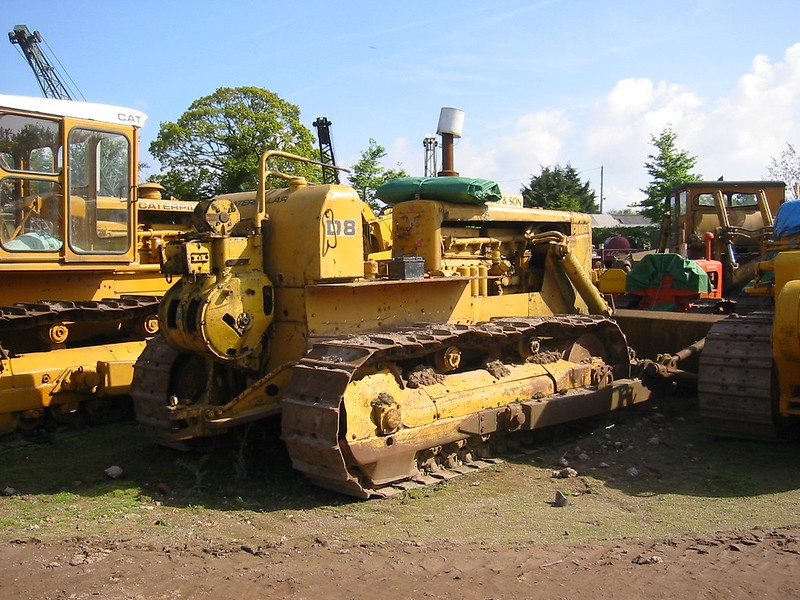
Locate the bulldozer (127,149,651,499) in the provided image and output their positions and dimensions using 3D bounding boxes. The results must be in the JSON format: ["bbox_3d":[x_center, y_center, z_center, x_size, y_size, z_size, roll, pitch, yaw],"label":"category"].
[{"bbox_3d":[0.171,-0.165,8.277,6.738,2.987,4.427,-7,16,-40],"label":"bulldozer"}]
